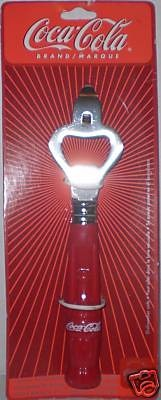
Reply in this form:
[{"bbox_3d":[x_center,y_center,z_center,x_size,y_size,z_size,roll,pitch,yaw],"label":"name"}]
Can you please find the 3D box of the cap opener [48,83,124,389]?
[{"bbox_3d":[0.021,0.076,0.453,0.146,0.459,0.272,-5,-31,12],"label":"cap opener"}]
